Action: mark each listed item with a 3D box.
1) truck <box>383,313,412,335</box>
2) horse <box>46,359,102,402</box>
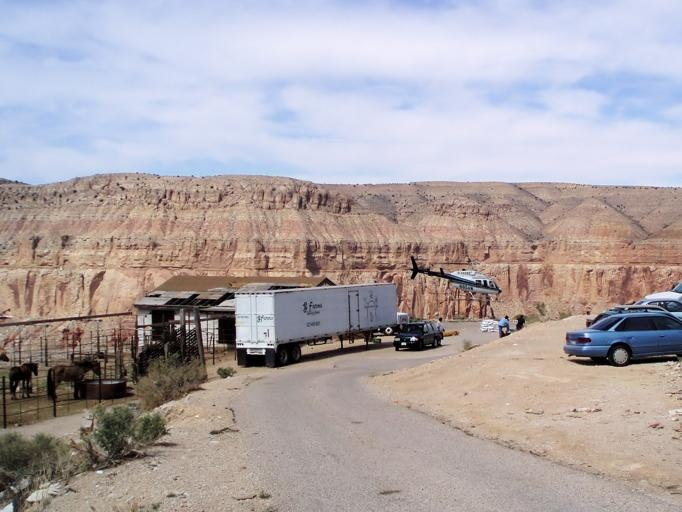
[{"bbox_3d":[4.860,5.107,47.356,3.103,1.382,1.631,-6,4,2],"label":"truck"},{"bbox_3d":[-13.422,6.238,31.590,2.429,1.352,5.098,-4,-2,-23],"label":"horse"}]
